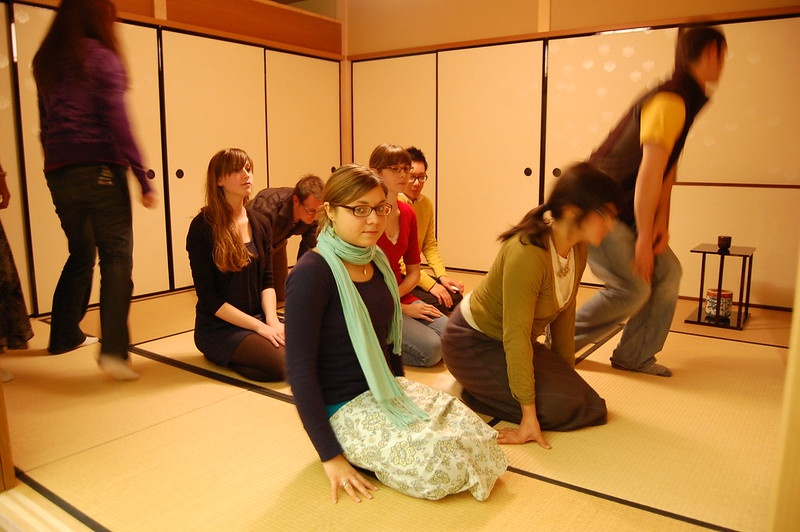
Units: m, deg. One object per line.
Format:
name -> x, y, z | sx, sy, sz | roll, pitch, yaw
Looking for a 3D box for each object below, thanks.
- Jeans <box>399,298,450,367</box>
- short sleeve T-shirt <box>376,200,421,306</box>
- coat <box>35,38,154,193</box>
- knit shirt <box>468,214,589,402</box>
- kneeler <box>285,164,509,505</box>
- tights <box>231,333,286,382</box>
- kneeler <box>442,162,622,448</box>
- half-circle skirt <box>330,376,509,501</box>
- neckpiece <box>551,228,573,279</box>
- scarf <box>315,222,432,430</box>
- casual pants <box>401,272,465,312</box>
Jeans -> 0.128, 0.391, 3.035 | 0.325, 0.138, 0.330 | 12, 27, 10
short sleeve T-shirt -> -0.046, -0.067, 3.181 | 0.287, 0.405, 0.146 | 0, -1, -11
coat -> -1.562, -0.760, 2.738 | 0.626, 0.726, 0.165 | 6, 13, 12
knit shirt -> 0.579, 0.189, 2.505 | 0.545, 0.804, 0.543 | 26, 28, 39
kneeler -> 0.009, 0.224, 2.063 | 0.790, 1.127, 0.722 | 7, 14, 17
tights -> -0.739, 0.499, 2.823 | 0.284, 0.301, 0.144 | 26, 51, 1
kneeler -> 0.688, 0.146, 2.494 | 0.699, 1.178, 0.758 | -2, 15, -26
half-circle skirt -> 0.085, 0.643, 2.088 | 0.669, 0.205, 0.510 | 9, 21, 32
neckpiece -> 0.694, -0.036, 2.311 | 0.135, 0.144, 0.031 | -8, 16, -39
scarf -> -0.092, 0.178, 2.031 | 0.223, 0.854, 0.158 | -14, -3, -37
casual pants -> 0.251, 0.169, 3.445 | 0.249, 0.093, 0.254 | 32, 40, 21
